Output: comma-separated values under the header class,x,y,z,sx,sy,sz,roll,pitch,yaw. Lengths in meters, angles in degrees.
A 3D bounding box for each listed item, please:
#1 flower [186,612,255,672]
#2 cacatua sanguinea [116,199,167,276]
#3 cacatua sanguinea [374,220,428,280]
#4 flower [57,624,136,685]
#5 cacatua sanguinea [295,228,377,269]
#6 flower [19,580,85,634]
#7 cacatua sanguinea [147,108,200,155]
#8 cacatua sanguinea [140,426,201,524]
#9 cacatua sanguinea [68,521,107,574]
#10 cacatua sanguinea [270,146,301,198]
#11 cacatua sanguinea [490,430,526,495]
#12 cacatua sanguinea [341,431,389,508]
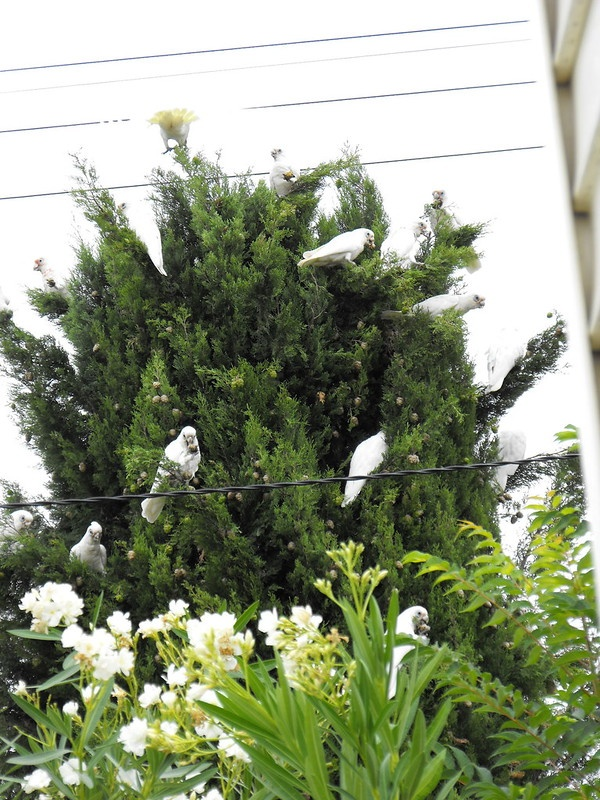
class,x,y,z,sx,sy,sz,roll,pitch,yaw
flower,-0.196,0.601,3.582,0.136,0.159,0.092,22,3,5
cacatua sanguinea,-0.686,-0.685,6.168,0.122,0.325,0.093,-30,-31,9
cacatua sanguinea,0.454,-0.646,6.138,0.154,0.152,0.448,-18,-9,27
flower,-0.533,0.661,3.799,0.178,0.169,0.225,-12,-9,-12
cacatua sanguinea,0.165,-0.612,6.000,0.375,0.196,0.135,-7,-12,-14
flower,-0.681,0.560,3.968,0.148,0.175,0.162,-16,-12,12
cacatua sanguinea,-0.567,-1.218,6.566,0.222,0.207,0.191,-13,-8,-3
cacatua sanguinea,-0.501,0.283,5.570,0.259,0.312,0.299,-12,-8,-5
cacatua sanguinea,-0.829,0.589,5.689,0.109,0.243,0.216,-3,1,-21
cacatua sanguinea,-0.069,-1.001,6.278,0.126,0.137,0.130,-12,-8,-7
cacatua sanguinea,0.866,0.241,5.839,0.156,0.186,0.207,-15,-8,14
cacatua sanguinea,0.266,0.232,5.598,0.135,0.351,0.109,42,-26,-24
